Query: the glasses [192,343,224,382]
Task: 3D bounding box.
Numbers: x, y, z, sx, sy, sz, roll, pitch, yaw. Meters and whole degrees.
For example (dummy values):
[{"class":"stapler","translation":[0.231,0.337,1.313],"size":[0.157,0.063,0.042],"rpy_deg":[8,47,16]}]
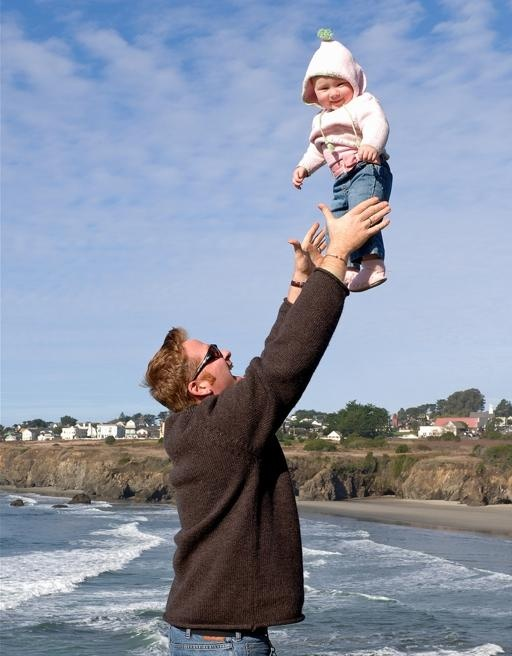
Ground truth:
[{"class":"glasses","translation":[-0.307,0.243,6.276],"size":[0.060,0.195,0.196],"rpy_deg":[38,2,-6]}]
